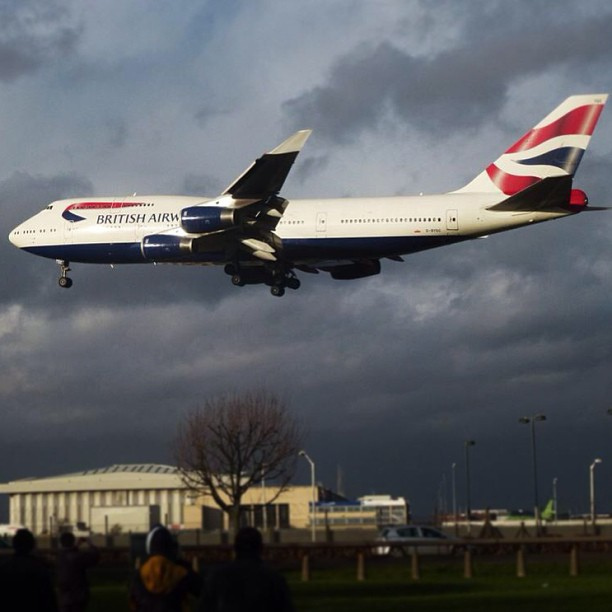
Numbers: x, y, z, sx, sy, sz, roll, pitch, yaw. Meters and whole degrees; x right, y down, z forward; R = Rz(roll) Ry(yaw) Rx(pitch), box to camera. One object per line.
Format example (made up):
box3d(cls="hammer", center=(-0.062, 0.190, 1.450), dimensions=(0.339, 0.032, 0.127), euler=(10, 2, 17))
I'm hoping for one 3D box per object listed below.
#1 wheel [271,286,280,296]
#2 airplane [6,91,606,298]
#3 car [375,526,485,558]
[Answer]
box3d(cls="wheel", center=(-1.213, -0.596, 53.011), dimensions=(0.486, 0.360, 0.445), euler=(0, -4, 0))
box3d(cls="airplane", center=(0.473, -3.859, 49.092), dimensions=(20.498, 5.949, 7.852), euler=(-7, -7, 31))
box3d(cls="car", center=(3.961, 7.436, 43.221), dimensions=(2.942, 0.626, 1.082), euler=(-1, -5, 1))
